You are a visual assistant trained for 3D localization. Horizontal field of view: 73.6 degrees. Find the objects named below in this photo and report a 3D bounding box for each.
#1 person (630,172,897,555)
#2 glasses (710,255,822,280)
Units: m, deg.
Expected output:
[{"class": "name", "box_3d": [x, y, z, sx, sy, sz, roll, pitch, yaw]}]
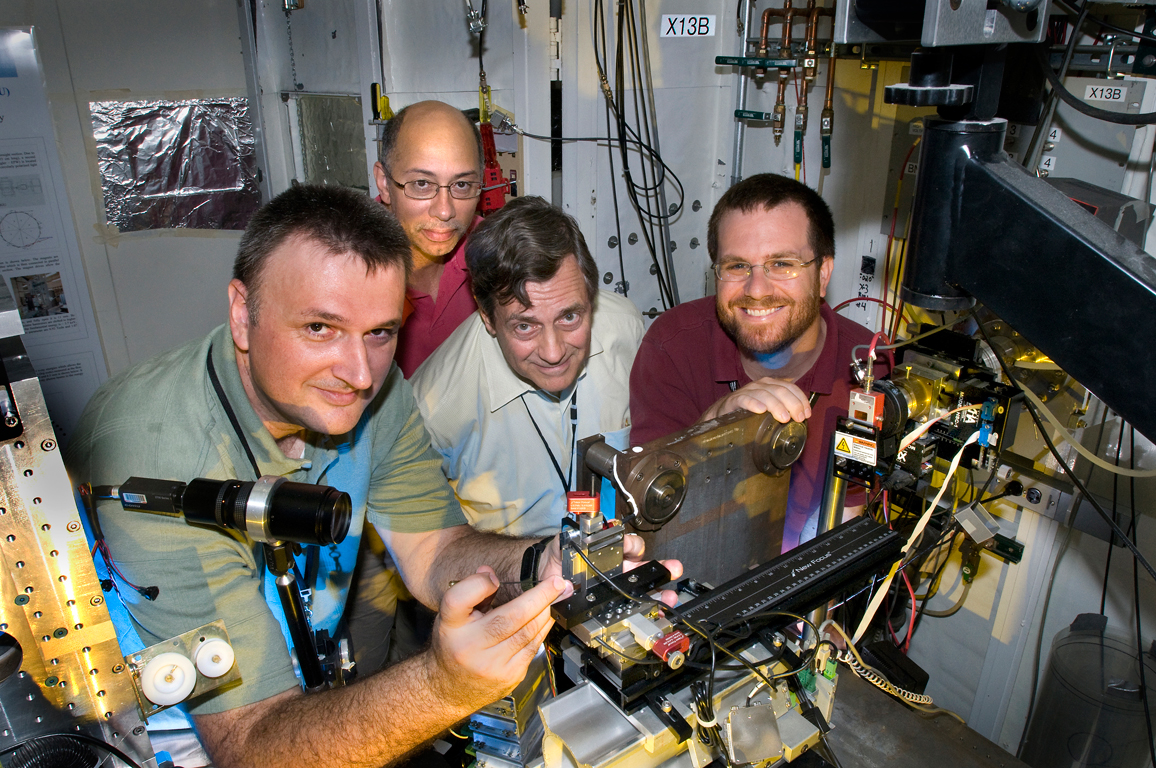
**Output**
[{"class": "person", "box_3d": [0.761, 0.059, 3.268, 1.074, 1.883, 1.006, 4, 28, 16]}, {"class": "glasses", "box_3d": [0.763, -0.463, 3.070, 0.395, 0.084, 0.087, -3, 16, 5]}]
